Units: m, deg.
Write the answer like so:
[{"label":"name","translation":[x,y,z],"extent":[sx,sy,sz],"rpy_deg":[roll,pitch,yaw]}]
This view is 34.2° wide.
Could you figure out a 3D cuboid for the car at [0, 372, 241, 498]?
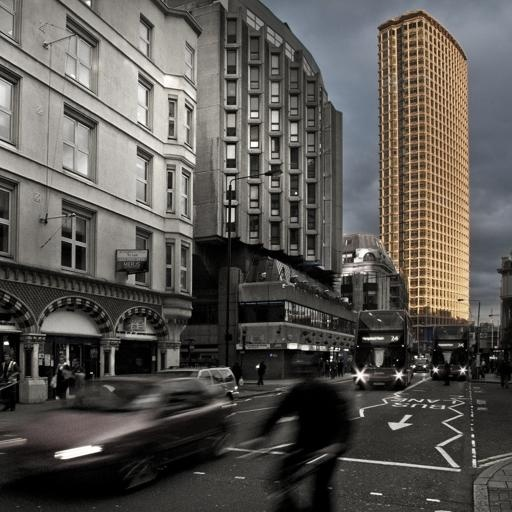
[{"label":"car","translation":[-2.072,2.682,12.997],"extent":[1.581,1.792,3.901],"rpy_deg":[-7,-13,30]}]

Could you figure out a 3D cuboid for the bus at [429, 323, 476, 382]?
[{"label":"bus","translation":[10.621,5.074,44.846],"extent":[1.284,2.262,4.250],"rpy_deg":[-1,-2,5]}]
